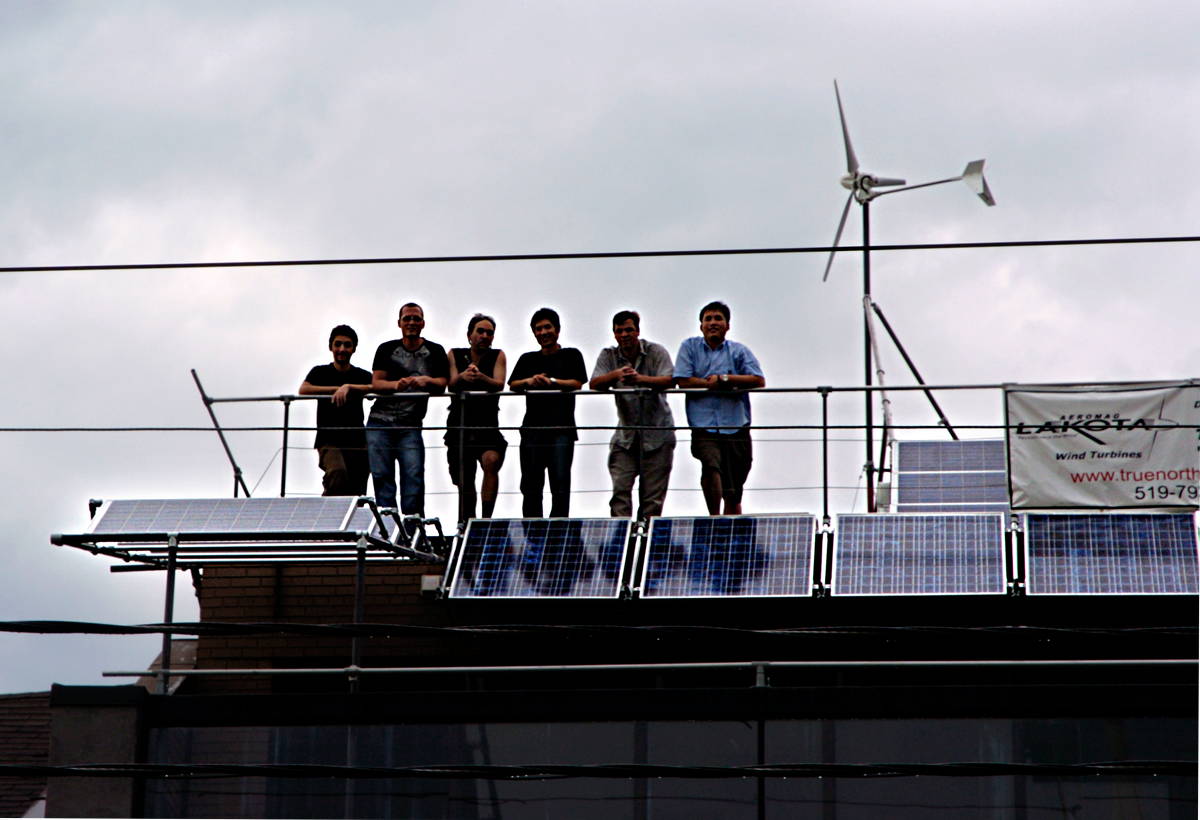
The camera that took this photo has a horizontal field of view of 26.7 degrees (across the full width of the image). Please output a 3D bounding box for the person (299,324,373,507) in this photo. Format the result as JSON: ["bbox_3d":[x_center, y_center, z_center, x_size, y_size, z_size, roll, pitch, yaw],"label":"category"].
[{"bbox_3d":[-3.149,0.078,30.483,0.813,2.307,1.387,2,-20,-5],"label":"person"}]

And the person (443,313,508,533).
[{"bbox_3d":[-1.466,0.103,30.312,0.733,2.585,0.934,1,-20,-3],"label":"person"}]
